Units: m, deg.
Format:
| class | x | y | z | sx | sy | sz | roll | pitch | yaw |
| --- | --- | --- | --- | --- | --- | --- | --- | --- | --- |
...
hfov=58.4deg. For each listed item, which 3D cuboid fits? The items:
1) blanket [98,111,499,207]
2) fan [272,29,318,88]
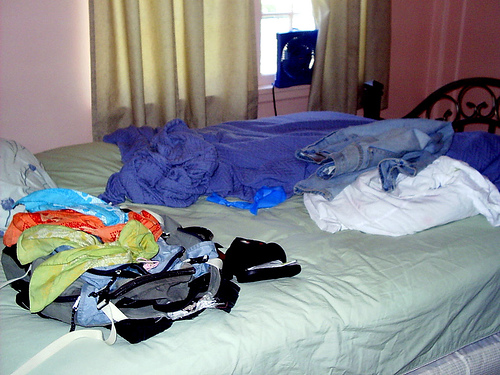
| class | x | y | z | sx | sy | sz | roll | pitch | yaw |
| --- | --- | --- | --- | --- | --- | --- | --- | --- | --- |
| blanket | -0.014 | -0.131 | 1.870 | 1.029 | 0.139 | 0.680 | -9 | 23 | -19 |
| fan | 0.313 | -0.878 | 3.064 | 0.288 | 0.379 | 0.116 | -4 | 15 | -13 |
